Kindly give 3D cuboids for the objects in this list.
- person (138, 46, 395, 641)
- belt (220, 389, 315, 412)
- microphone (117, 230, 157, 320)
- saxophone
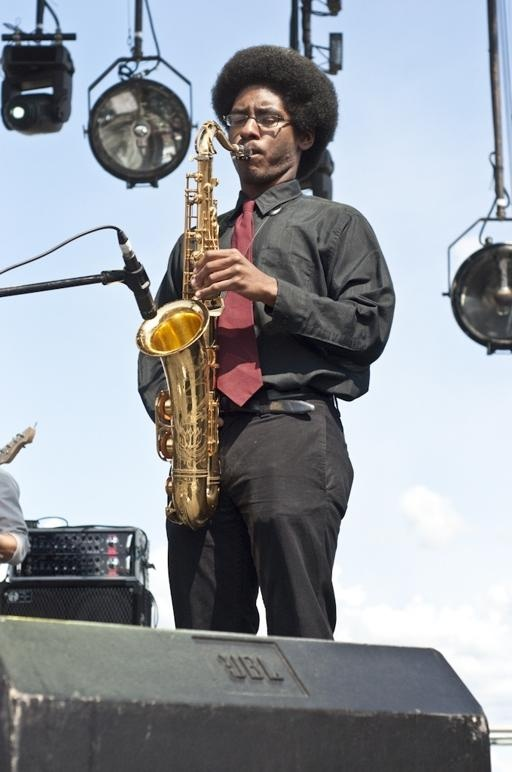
[{"bbox_3d":[0.055,-0.144,6.632,0.627,1.579,1.022,0,8,8],"label":"person"},{"bbox_3d":[0.046,0.043,6.462,0.195,0.053,0.047,1,8,11],"label":"belt"},{"bbox_3d":[-0.331,-0.301,6.460,0.076,0.270,0.260,0,8,6],"label":"microphone"},{"bbox_3d":[-0.201,-0.173,6.705,0.242,1.154,0.434,0,2,-3],"label":"saxophone"}]
